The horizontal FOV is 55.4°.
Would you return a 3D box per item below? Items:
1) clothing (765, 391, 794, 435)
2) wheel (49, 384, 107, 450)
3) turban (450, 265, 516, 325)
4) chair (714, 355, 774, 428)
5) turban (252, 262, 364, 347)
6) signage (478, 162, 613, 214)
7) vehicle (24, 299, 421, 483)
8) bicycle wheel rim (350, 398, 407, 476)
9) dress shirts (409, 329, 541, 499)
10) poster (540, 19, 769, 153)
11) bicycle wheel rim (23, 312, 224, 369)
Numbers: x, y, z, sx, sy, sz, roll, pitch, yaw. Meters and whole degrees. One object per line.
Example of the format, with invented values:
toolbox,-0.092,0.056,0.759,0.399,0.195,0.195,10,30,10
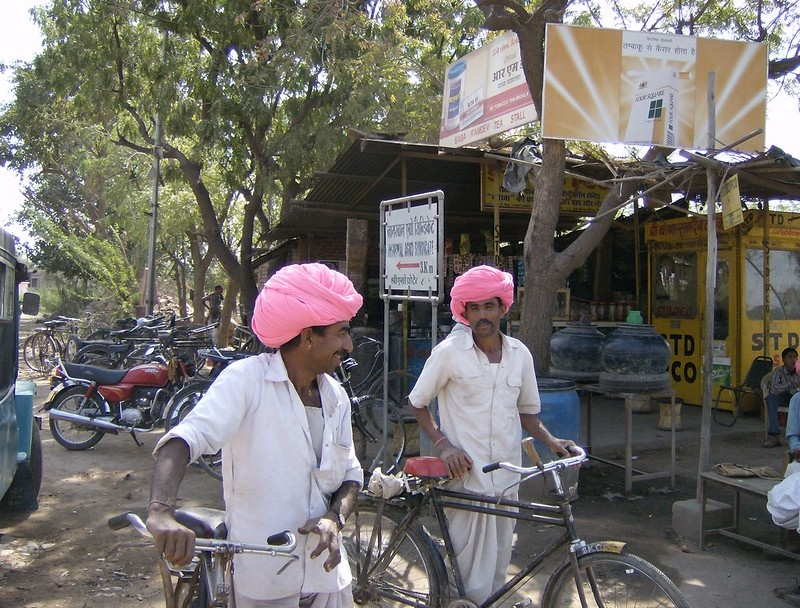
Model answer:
clothing,4.903,1.436,9.876,0.352,0.576,0.285,2,-4,3
wheel,-4.073,1.487,9.651,0.786,0.878,0.187,22,17,-4
turban,0.571,-0.043,5.303,0.368,0.374,0.445,1,-1,6
chair,5.140,1.336,11.401,0.721,1.069,0.610,2,2,-27
turban,-0.529,-0.007,4.323,0.546,0.436,0.462,-5,12,-7
signage,2.191,-1.751,11.851,1.864,0.829,0.133,3,-7,-7
vehicle,-2.067,0.977,9.481,4.362,2.274,1.886,4,-2,6
bicycle wheel rim,-0.286,1.559,9.145,0.189,0.804,0.760,-1,8,-37
dress shirts,0.597,0.733,5.436,0.940,1.175,0.434,-2,11,-9
poster,2.662,-2.269,8.062,3.147,1.735,0.057,3,-7,-9
bicycle wheel rim,-5.160,0.718,14.137,1.796,0.938,1.295,0,1,6
